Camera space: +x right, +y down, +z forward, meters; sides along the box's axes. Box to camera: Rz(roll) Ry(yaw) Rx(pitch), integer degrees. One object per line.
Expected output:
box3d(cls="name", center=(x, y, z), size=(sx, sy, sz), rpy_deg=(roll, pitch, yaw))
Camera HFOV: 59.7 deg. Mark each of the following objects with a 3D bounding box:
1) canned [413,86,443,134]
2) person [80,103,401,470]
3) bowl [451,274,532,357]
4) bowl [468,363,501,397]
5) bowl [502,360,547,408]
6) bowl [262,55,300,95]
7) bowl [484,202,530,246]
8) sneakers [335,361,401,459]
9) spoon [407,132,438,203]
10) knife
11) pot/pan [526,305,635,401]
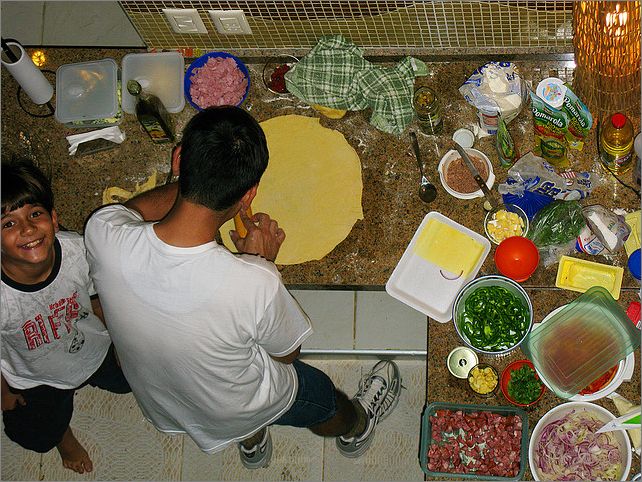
box3d(cls="canned", center=(0.502, -0.599, 2.603), size=(0.142, 0.232, 0.090), rpy_deg=(2, 48, 10))
box3d(cls="person", center=(-0.265, 0.488, 2.685), size=(0.794, 1.959, 1.158), rpy_deg=(20, 51, 36))
box3d(cls="bowl", center=(0.764, 0.343, 2.493), size=(0.342, 0.251, 0.282), rpy_deg=(-5, 48, 5))
box3d(cls="bowl", center=(0.725, 0.616, 2.484), size=(0.123, 0.095, 0.136), rpy_deg=(1, 89, 11))
box3d(cls="bowl", center=(0.883, 0.629, 2.439), size=(0.185, 0.046, 0.199), rpy_deg=(-3, 74, 10))
box3d(cls="bowl", center=(-0.214, -0.831, 2.784), size=(0.189, 0.151, 0.146), rpy_deg=(-3, 48, 6))
box3d(cls="bowl", center=(0.852, -0.082, 2.556), size=(0.191, 0.132, 0.140), rpy_deg=(-9, 47, 0))
box3d(cls="sneakers", center=(0.324, 0.886, 3.207), size=(0.256, 0.239, 0.638), rpy_deg=(27, 92, 17))
box3d(cls="spoon", center=(0.483, -0.322, 2.645), size=(0.084, 0.051, 0.383), rpy_deg=(-12, 92, 10))
box3d(cls="knife", center=(0.727, -0.295, 2.605), size=(0.045, 0.047, 0.345), rpy_deg=(-22, 76, -35))
box3d(cls="pot/pan", center=(1.247, 0.461, 2.500), size=(0.412, 0.419, 0.102), rpy_deg=(-1, 7, 3))
